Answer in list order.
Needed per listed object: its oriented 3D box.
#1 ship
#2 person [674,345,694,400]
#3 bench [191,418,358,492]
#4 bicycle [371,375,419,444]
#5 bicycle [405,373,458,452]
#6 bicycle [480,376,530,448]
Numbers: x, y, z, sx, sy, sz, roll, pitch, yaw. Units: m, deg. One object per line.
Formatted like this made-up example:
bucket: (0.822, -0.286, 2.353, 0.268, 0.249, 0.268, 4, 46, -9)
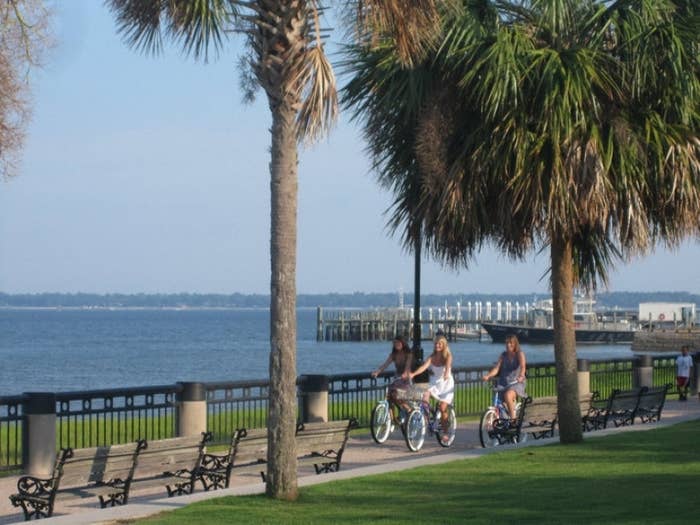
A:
ship: (20.698, 5.271, 127.226, 15.848, 5.769, 4.250, 1, 10, -18)
person: (9.030, 2.917, 35.821, 0.462, 1.560, 2.546, -3, -8, 14)
bench: (-1.297, 3.309, 23.133, 2.826, 1.082, 1.784, 0, -8, -16)
bicycle: (0.958, 3.008, 27.008, 0.694, 0.975, 1.448, 12, -4, 23)
bicycle: (1.624, 3.035, 26.548, 0.872, 1.366, 1.604, -4, -8, 16)
bicycle: (3.070, 3.020, 26.283, 0.715, 0.975, 1.403, -7, -10, 26)
